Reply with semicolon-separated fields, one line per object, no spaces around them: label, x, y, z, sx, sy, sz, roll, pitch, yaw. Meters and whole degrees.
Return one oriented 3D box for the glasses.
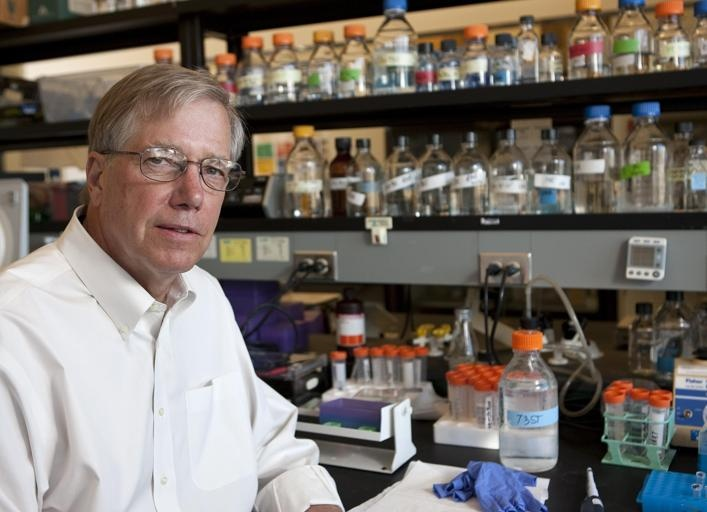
glasses;-0.448;-0.208;1.679;0.310;0.100;0.105;-1;3;-23

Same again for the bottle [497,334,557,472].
bottle;0.501;0.436;1.959;0.170;0.329;0.129;1;3;12

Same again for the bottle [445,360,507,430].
bottle;0.375;0.417;2.110;0.166;0.127;0.168;-3;5;0

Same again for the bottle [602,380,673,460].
bottle;0.806;0.457;2.042;0.198;0.245;0.205;2;6;28
